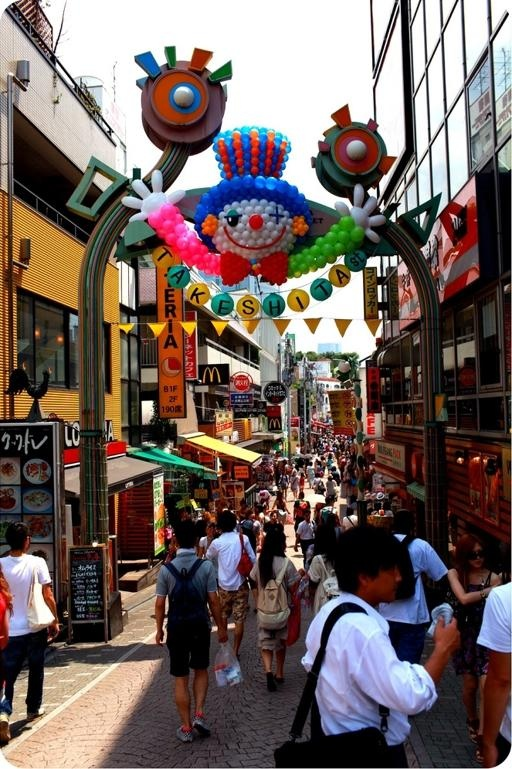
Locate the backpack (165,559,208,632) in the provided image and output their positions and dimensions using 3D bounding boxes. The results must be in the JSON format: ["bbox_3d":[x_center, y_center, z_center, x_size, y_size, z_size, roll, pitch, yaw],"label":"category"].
[{"bbox_3d":[-0.560,1.685,4.976,0.277,0.519,0.268,15,4,34],"label":"backpack"}]

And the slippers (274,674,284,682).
[{"bbox_3d":[0.218,2.921,6.245,0.059,0.060,0.047,-5,-5,34],"label":"slippers"}]

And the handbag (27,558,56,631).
[{"bbox_3d":[-1.794,1.761,5.269,0.140,0.612,0.288,-5,-11,19],"label":"handbag"}]

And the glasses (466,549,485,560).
[{"bbox_3d":[1.605,1.249,4.584,0.106,0.076,0.040,-5,-11,17],"label":"glasses"}]

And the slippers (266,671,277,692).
[{"bbox_3d":[0.146,2.861,6.019,0.065,0.204,0.084,-2,-29,-5],"label":"slippers"}]
